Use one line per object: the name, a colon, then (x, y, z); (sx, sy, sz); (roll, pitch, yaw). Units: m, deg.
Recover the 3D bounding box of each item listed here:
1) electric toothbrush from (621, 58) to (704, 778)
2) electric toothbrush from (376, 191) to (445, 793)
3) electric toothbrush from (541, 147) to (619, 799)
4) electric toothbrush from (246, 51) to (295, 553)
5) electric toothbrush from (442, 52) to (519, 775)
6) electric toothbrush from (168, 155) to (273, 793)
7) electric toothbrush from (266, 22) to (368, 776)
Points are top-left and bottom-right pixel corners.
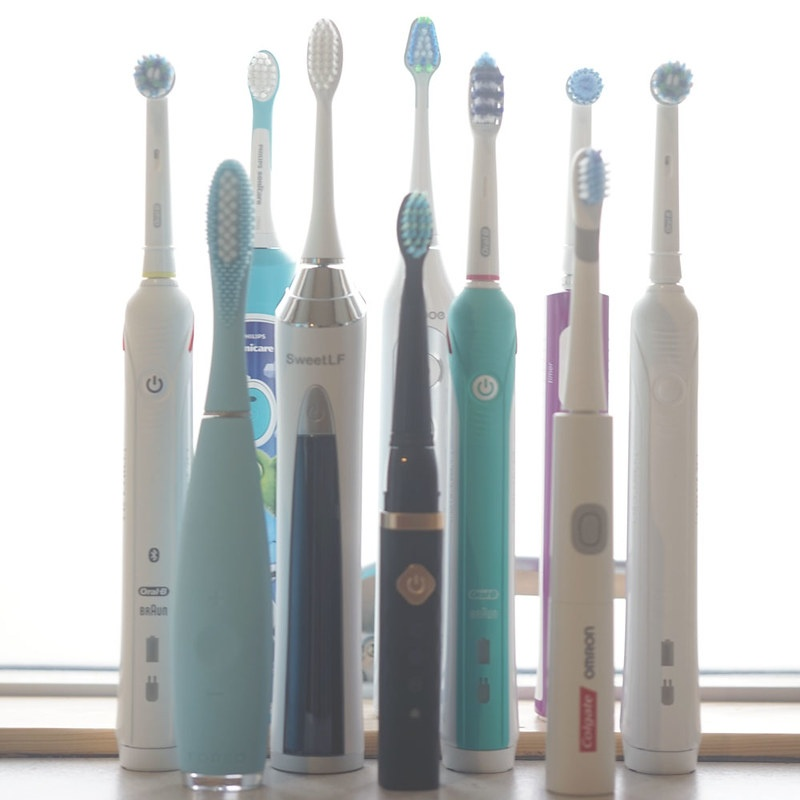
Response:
electric toothbrush: (0.168, 0.011, 0.823); (0.053, 0.457, 0.048); (-1, -5, 11)
electric toothbrush: (0.006, 0.055, 0.768); (0.036, 0.361, 0.041); (0, -5, -1)
electric toothbrush: (0.108, 0.043, 0.767); (0.042, 0.390, 0.041); (0, -5, 7)
electric toothbrush: (-0.094, -0.068, 0.869); (0.037, 0.343, 0.016); (-1, 4, -4)
electric toothbrush: (0.051, 0.008, 0.820); (0.047, 0.462, 0.045); (0, -5, 2)
electric toothbrush: (-0.107, 0.045, 0.775); (0.058, 0.384, 0.033); (1, -5, -12)
electric toothbrush: (-0.051, -0.006, 0.812); (0.057, 0.485, 0.044); (1, -5, -5)
